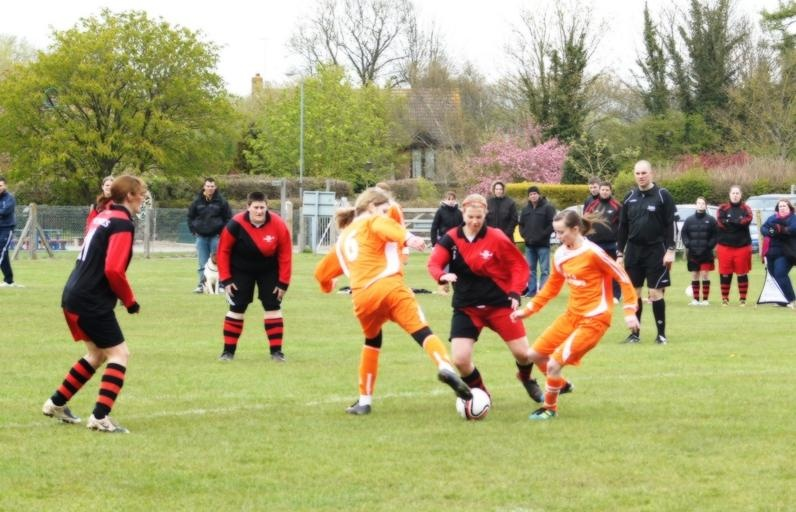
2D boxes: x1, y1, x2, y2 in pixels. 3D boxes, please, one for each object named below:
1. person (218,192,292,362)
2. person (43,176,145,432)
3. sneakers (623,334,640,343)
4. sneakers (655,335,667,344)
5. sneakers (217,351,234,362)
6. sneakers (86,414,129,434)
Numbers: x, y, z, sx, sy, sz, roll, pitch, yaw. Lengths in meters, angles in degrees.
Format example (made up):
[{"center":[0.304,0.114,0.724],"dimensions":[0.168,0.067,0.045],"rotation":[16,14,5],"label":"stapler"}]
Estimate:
[{"center":[-2.363,0.322,17.863],"dimensions":[1.205,2.765,0.650],"rotation":[0,-1,-9],"label":"person"},{"center":[-4.121,0.636,14.877],"dimensions":[1.137,3.522,0.611],"rotation":[-1,-1,13],"label":"person"},{"center":[4.186,1.480,19.086],"dimensions":[0.364,0.144,0.124],"rotation":[0,1,7],"label":"sneakers"},{"center":[4.657,1.468,18.897],"dimensions":[0.213,0.147,0.445],"rotation":[0,0,14],"label":"sneakers"},{"center":[-2.791,1.649,17.705],"dimensions":[0.260,0.150,0.378],"rotation":[0,0,-11],"label":"sneakers"},{"center":[-3.963,2.302,14.759],"dimensions":[0.646,0.250,0.213],"rotation":[4,-2,-2],"label":"sneakers"}]
